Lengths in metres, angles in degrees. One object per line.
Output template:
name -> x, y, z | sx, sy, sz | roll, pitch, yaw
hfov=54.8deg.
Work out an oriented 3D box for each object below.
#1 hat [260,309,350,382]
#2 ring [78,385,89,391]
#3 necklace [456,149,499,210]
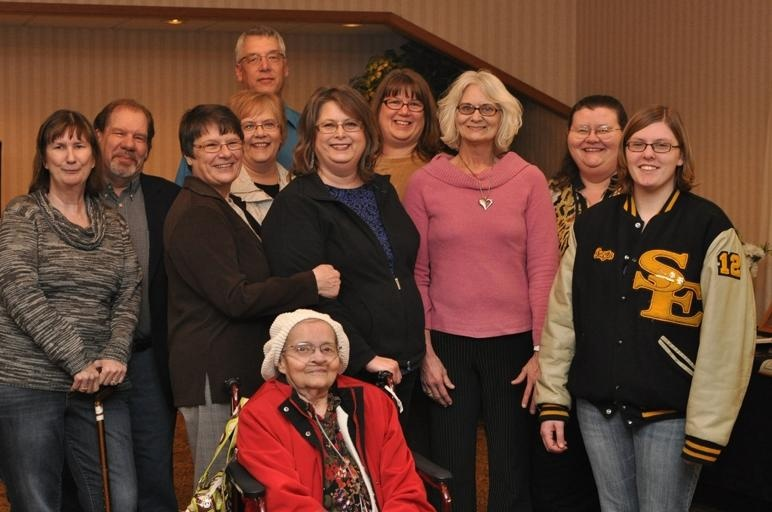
hat -> -0.396, 0.372, 3.429 | 0.287, 0.279, 0.366 | 13, -34, -37
ring -> -1.466, 0.645, 3.619 | 0.028, 0.017, 0.032 | 3, -25, -19
necklace -> 0.456, -0.389, 3.872 | 0.078, 0.287, 0.258 | -4, 6, -29
